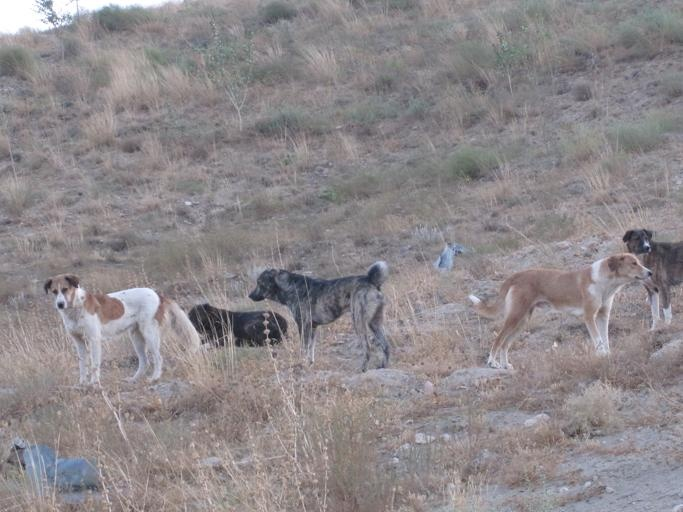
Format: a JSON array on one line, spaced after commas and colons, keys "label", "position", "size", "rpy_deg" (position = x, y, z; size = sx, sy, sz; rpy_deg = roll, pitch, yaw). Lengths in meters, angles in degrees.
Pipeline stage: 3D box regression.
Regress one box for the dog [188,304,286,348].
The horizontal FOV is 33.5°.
[{"label": "dog", "position": [-2.543, 1.620, 27.857], "size": [2.533, 1.262, 1.005], "rpy_deg": [4, -6, 15]}]
